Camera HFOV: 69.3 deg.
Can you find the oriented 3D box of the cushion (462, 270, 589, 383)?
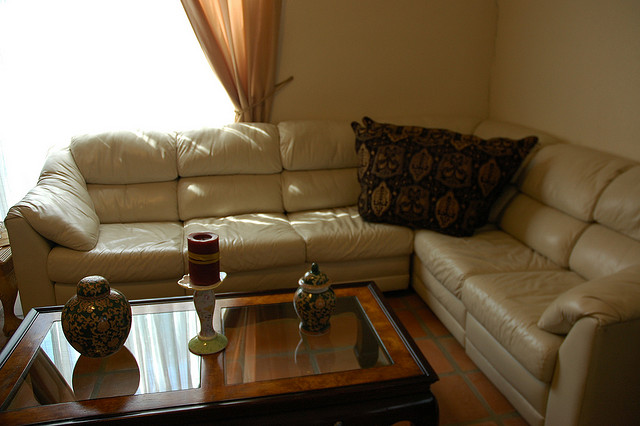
[{"bbox_3d":[1.221,0.642,2.699,0.568,0.211,0.577,-20,33,-15],"label":"cushion"}]

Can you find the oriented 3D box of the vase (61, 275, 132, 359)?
[{"bbox_3d":[-1.063,0.503,2.197,0.283,0.370,0.135,-10,17,-24],"label":"vase"}]

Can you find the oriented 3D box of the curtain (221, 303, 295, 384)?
[{"bbox_3d":[-0.311,0.671,2.350,0.304,0.071,0.292,-5,40,-6],"label":"curtain"}]

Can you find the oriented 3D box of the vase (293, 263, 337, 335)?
[{"bbox_3d":[-0.041,0.459,2.427,0.234,0.343,0.237,5,6,28],"label":"vase"}]

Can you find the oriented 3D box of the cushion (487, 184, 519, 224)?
[{"bbox_3d":[1.303,-0.061,3.342,0.121,0.264,0.244,10,11,-25],"label":"cushion"}]

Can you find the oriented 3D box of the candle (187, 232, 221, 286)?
[{"bbox_3d":[-0.556,0.217,2.224,0.169,0.239,0.152,-9,16,-22],"label":"candle"}]

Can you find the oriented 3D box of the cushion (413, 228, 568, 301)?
[{"bbox_3d":[1.057,0.275,3.027,0.520,0.160,0.544,-8,24,-20],"label":"cushion"}]

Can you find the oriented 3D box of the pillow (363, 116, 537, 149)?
[{"bbox_3d":[0.928,-0.572,3.417,1.430,0.191,0.277,10,18,30],"label":"pillow"}]

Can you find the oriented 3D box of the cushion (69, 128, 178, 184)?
[{"bbox_3d":[-1.579,-0.377,3.649,0.909,0.413,0.477,-3,9,-42],"label":"cushion"}]

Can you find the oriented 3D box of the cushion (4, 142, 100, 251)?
[{"bbox_3d":[-1.880,-0.084,3.191,0.267,0.628,0.690,-13,-8,33],"label":"cushion"}]

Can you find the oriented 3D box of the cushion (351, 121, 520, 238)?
[{"bbox_3d":[0.822,-0.209,3.287,0.828,0.288,0.543,10,60,20],"label":"cushion"}]

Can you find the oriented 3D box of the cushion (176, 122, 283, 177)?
[{"bbox_3d":[-0.867,-0.463,3.760,0.602,0.371,1.089,8,11,39],"label":"cushion"}]

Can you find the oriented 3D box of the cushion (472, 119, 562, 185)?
[{"bbox_3d":[1.435,-0.390,3.665,0.554,0.162,0.525,22,53,39],"label":"cushion"}]

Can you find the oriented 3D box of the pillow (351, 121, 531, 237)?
[{"bbox_3d":[0.860,-0.213,3.282,0.844,0.499,0.253,9,0,19],"label":"pillow"}]

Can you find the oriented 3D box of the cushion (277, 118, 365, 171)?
[{"bbox_3d":[-0.043,-0.567,3.683,0.758,0.374,0.334,-3,-14,-10],"label":"cushion"}]
